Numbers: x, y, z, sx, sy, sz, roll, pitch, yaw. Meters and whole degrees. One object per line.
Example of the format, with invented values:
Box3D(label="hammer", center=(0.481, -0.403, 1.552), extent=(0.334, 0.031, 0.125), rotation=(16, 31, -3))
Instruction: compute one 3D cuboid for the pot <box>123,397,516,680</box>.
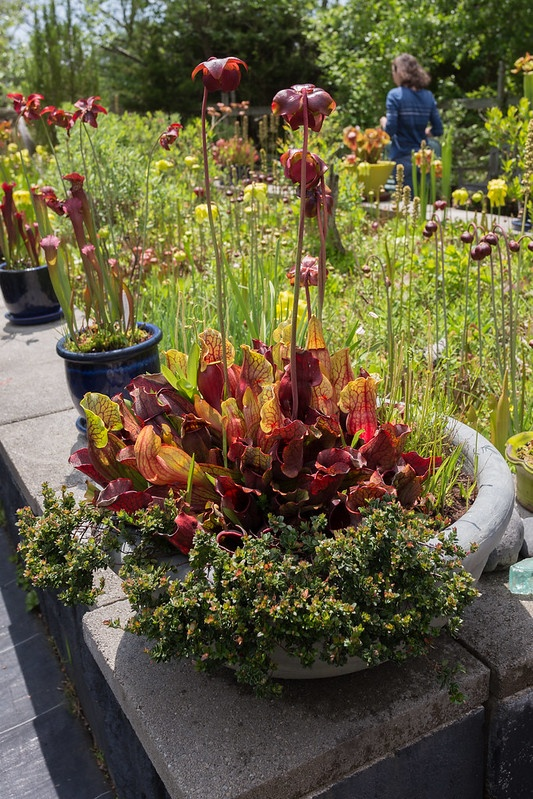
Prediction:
Box3D(label="pot", center=(0.250, 0.280, 1.513), extent=(0.536, 0.210, 0.508), rotation=(-13, 25, 6))

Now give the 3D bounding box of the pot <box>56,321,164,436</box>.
Box3D(label="pot", center=(-0.484, -0.119, 2.361), extent=(0.346, 0.313, 0.321), rotation=(-7, 18, 2))

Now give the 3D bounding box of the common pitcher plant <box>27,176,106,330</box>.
Box3D(label="common pitcher plant", center=(-0.607, -0.401, 2.230), extent=(0.172, 0.492, 0.132), rotation=(20, 46, 16))
